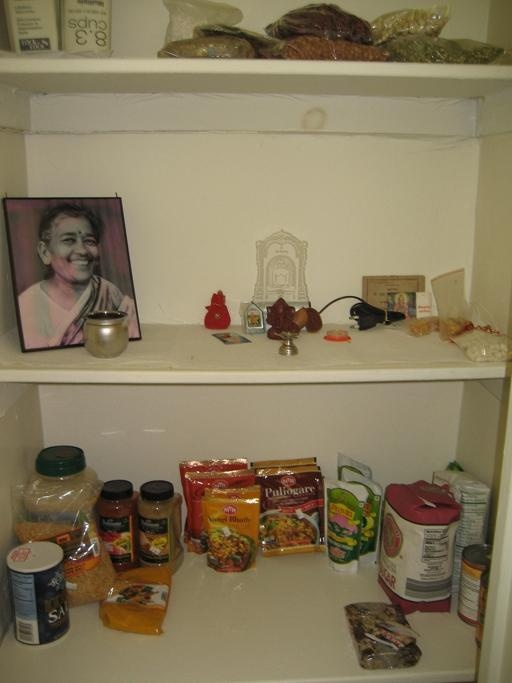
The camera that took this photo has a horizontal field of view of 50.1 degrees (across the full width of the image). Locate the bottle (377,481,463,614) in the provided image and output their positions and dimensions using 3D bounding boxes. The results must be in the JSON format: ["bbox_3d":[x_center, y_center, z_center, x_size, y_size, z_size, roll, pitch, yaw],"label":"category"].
[{"bbox_3d":[0.348,0.426,1.176,0.157,0.244,0.188,2,14,4],"label":"bottle"}]

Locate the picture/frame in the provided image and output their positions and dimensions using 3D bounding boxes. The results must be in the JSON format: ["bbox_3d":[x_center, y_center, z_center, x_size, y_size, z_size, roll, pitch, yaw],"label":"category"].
[{"bbox_3d":[-0.367,-0.126,1.065,0.295,0.368,0.013,-7,3,-29],"label":"picture/frame"}]

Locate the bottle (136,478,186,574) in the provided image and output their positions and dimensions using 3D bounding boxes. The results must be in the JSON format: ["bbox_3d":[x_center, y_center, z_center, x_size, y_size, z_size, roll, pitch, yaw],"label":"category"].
[{"bbox_3d":[-0.217,0.404,1.236,0.101,0.197,0.118,3,14,6],"label":"bottle"}]

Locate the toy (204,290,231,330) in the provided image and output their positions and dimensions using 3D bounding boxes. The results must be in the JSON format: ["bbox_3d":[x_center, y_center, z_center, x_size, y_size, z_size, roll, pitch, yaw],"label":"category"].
[{"bbox_3d":[-0.089,-0.071,1.243,0.077,0.111,0.033,6,29,1],"label":"toy"}]

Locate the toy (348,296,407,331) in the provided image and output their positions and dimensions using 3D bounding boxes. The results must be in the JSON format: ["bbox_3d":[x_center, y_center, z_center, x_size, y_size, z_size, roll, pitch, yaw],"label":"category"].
[{"bbox_3d":[0.261,-0.060,1.241,0.163,0.067,0.051,0,54,19],"label":"toy"}]

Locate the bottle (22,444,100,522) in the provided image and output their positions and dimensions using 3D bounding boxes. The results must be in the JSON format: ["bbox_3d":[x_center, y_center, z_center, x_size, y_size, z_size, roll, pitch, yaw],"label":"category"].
[{"bbox_3d":[-0.406,0.291,1.152,0.153,0.150,0.168,-2,15,-14],"label":"bottle"}]

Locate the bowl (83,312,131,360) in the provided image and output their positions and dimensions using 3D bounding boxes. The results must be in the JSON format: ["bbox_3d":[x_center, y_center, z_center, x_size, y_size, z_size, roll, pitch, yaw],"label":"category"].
[{"bbox_3d":[-0.264,-0.013,0.983,0.079,0.077,0.077,1,18,0],"label":"bowl"}]

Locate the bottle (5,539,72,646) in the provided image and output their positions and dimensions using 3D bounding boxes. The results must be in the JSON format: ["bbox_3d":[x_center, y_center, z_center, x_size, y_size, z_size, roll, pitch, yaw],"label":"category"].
[{"bbox_3d":[-0.403,0.470,1.019,0.095,0.176,0.100,1,14,0],"label":"bottle"}]
